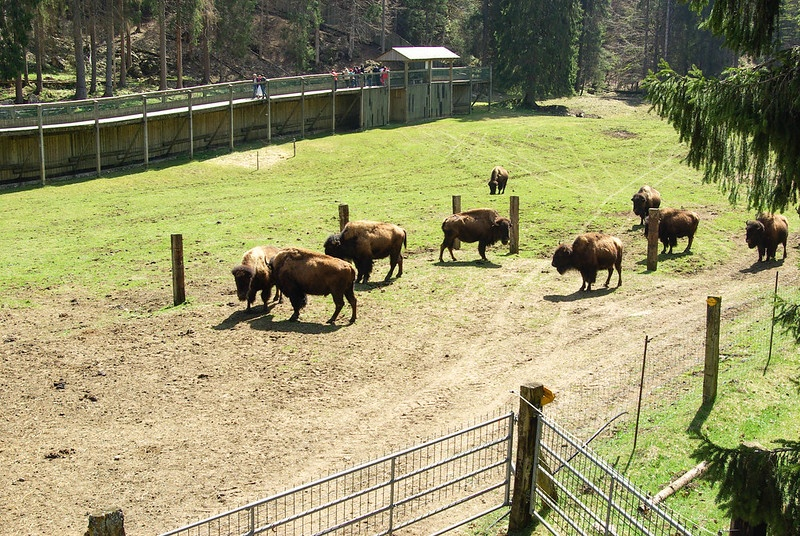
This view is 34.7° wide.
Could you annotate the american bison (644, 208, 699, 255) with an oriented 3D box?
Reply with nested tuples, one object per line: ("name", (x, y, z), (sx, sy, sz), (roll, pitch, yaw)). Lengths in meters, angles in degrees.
("american bison", (12.245, -1.675, 57.493), (3.136, 2.113, 1.046), (-3, 9, -26))

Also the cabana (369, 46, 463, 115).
("cabana", (1.081, -12.889, 88.589), (2.244, 3.709, 5.214), (8, 16, 35))
